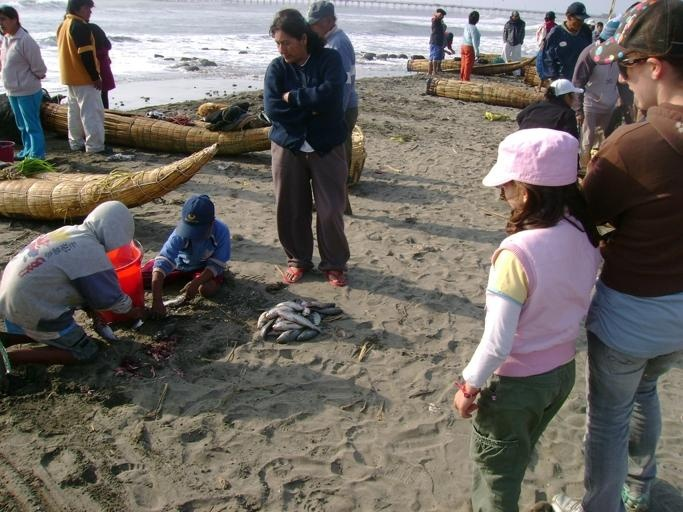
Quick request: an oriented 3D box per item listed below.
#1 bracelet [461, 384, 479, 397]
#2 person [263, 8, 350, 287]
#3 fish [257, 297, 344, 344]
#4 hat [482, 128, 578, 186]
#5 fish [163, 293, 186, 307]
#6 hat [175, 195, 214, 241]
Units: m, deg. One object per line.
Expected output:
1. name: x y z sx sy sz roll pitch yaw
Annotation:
1. bracelet: 0.660 0.679 2.874 0.081 0.025 0.083 3 9 -2
2. person: -0.311 -0.943 5.201 0.845 2.501 0.412 3 22 1
3. fish: -0.368 0.535 4.864 0.419 0.110 0.512 12 16 34
4. hat: 0.954 -0.525 2.892 0.541 0.203 0.351 5 27 25
5. fish: -1.497 0.384 5.058 0.193 0.038 0.114 -24 41 -38
6. hat: -1.271 -0.391 4.916 0.350 0.217 0.427 9 43 6
